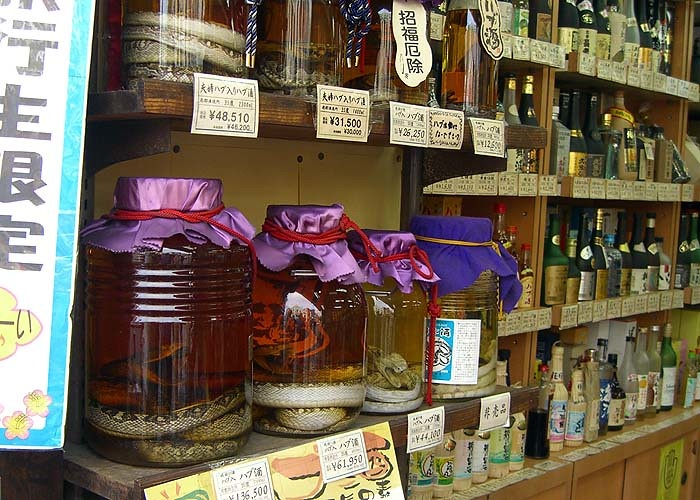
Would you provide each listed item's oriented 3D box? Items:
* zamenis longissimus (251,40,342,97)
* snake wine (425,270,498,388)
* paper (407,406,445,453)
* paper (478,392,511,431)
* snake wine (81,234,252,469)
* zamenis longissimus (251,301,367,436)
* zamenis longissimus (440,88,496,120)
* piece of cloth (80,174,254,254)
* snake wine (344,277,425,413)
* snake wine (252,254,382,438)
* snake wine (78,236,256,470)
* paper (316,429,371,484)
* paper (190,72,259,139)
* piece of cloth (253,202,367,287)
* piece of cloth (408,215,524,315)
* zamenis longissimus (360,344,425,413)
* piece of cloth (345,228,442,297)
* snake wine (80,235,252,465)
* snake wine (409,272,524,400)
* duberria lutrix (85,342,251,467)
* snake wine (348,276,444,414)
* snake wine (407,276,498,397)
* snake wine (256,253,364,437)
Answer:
[{"bbox_3d":[-0.100,-0.351,1.240,0.164,0.104,0.165,4,9,17],"label":"zamenis longissimus"},{"bbox_3d":[0.241,0.178,1.464,0.171,0.281,0.173,-3,9,-18],"label":"snake wine"},{"bbox_3d":[0.159,0.368,1.320,0.110,0.085,0.017,-7,5,-40],"label":"paper"},{"bbox_3d":[0.326,0.362,1.432,0.006,0.073,0.103,21,-31,-18],"label":"paper"},{"bbox_3d":[-0.320,0.148,1.161,0.256,0.424,0.257,-1,0,-30],"label":"snake wine"},{"bbox_3d":[-0.079,0.208,1.359,0.223,0.364,0.247,0,1,7],"label":"zamenis longissimus"},{"bbox_3d":[0.266,-0.314,1.439,0.077,0.076,0.078,4,5,29],"label":"zamenis longissimus"},{"bbox_3d":[-0.331,-0.066,1.143,0.308,0.118,0.314,-10,14,-44],"label":"piece of cloth"},{"bbox_3d":[0.118,0.198,1.434,0.179,0.282,0.172,-4,-8,20],"label":"snake wine"},{"bbox_3d":[-0.084,0.165,1.282,0.218,0.360,0.240,-1,2,-25],"label":"snake wine"},{"bbox_3d":[-0.327,0.142,1.163,0.259,0.429,0.264,2,2,4],"label":"snake wine"},{"bbox_3d":[-0.020,0.374,1.182,0.008,0.082,0.107,-16,-6,39],"label":"paper"},{"bbox_3d":[-0.201,-0.234,1.032,0.109,0.094,0.016,0,3,-28],"label":"paper"},{"bbox_3d":[-0.091,-0.019,1.255,0.210,0.134,0.248,8,7,23],"label":"piece of cloth"},{"bbox_3d":[0.262,0.013,1.428,0.205,0.193,0.206,4,6,25],"label":"piece of cloth"},{"bbox_3d":[0.096,0.289,1.396,0.145,0.110,0.147,1,-5,-10],"label":"zamenis longissimus"},{"bbox_3d":[0.086,0.017,1.305,0.146,0.075,0.140,7,9,-11],"label":"piece of cloth"},{"bbox_3d":[-0.323,0.143,1.158,0.254,0.417,0.258,-1,-3,13],"label":"snake wine"},{"bbox_3d":[0.257,0.185,1.472,0.172,0.279,0.176,-2,1,-30],"label":"snake wine"},{"bbox_3d":[-0.313,0.256,1.078,0.197,0.148,0.199,0,0,21],"label":"duberria lutrix"},{"bbox_3d":[0.049,0.220,1.413,0.150,0.237,0.146,3,-16,-13],"label":"snake wine"},{"bbox_3d":[0.242,0.176,1.464,0.172,0.285,0.175,-1,9,-2],"label":"snake wine"},{"bbox_3d":[-0.082,0.171,1.281,0.234,0.358,0.220,0,0,36],"label":"snake wine"}]
